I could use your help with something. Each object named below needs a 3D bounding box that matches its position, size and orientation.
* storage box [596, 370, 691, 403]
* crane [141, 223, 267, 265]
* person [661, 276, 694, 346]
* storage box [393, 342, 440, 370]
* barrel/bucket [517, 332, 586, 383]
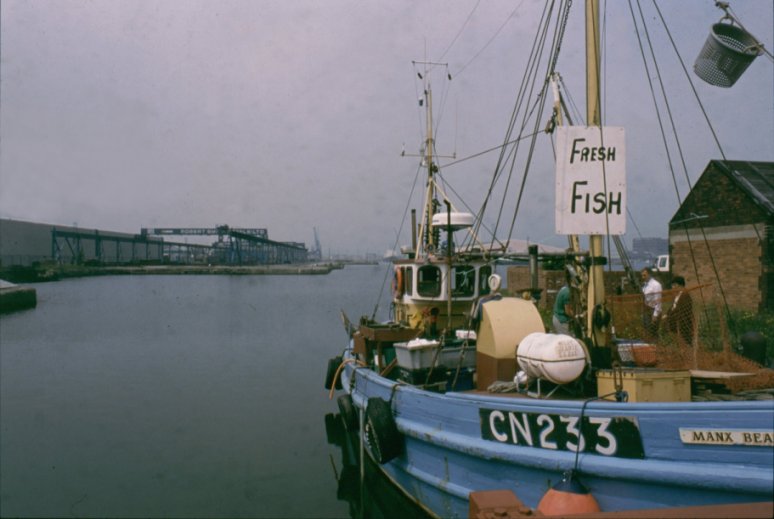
[{"bbox_3d":[4.755,2.304,13.477,1.063,0.616,1.543,-1,-7,-9],"label":"storage box"},{"bbox_3d":[-17.914,-1.141,70.056,10.069,4.460,4.153,-2,0,-20],"label":"crane"},{"bbox_3d":[5.701,1.015,14.126,0.501,1.611,0.562,0,-3,1],"label":"person"},{"bbox_3d":[0.592,1.924,14.846,0.700,0.362,0.559,0,-1,-29],"label":"storage box"},{"bbox_3d":[3.048,1.697,13.364,1.303,1.103,0.822,-4,0,-43],"label":"barrel/bucket"}]
